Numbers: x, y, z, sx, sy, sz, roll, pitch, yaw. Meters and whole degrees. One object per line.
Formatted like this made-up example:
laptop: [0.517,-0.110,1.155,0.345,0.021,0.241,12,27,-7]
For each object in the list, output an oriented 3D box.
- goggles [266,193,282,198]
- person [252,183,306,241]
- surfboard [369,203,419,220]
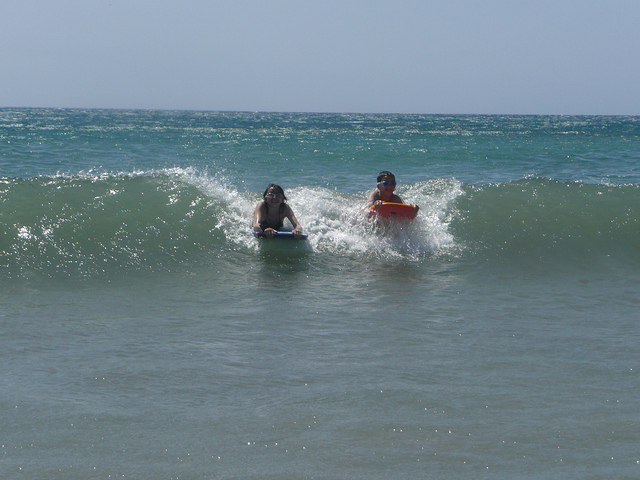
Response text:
goggles: [-0.805,-0.822,15.502,0.260,0.101,0.174,0,10,-3]
person: [-0.877,-0.503,15.964,0.799,0.850,2.108,7,-7,-12]
surfboard: [1.409,-0.523,15.521,0.562,0.345,0.109,9,52,-7]
